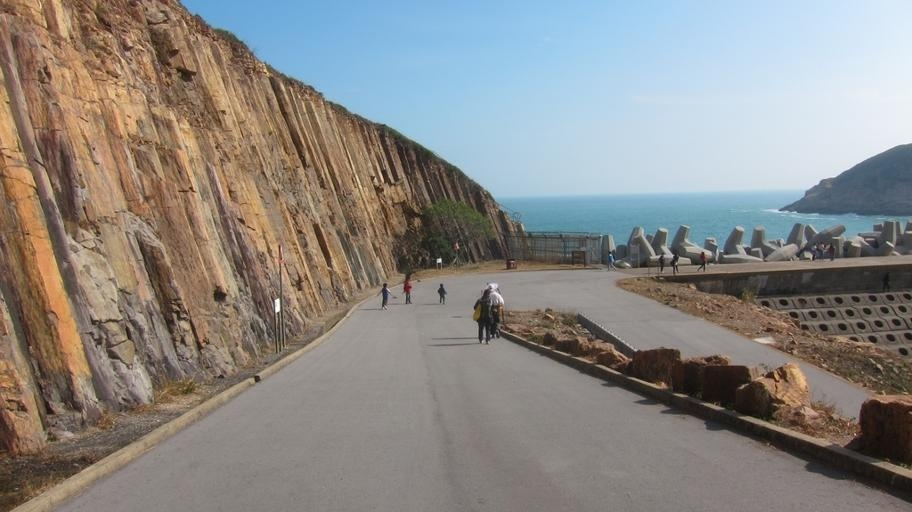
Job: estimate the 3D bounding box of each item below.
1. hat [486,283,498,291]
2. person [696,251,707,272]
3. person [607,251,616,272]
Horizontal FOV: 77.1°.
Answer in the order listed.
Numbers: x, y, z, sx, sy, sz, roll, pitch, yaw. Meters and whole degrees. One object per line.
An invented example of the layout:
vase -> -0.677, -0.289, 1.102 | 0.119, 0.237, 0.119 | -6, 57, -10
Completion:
hat -> 1.833, 1.555, 29.589 | 0.616, 0.261, 0.806 | 1, -1, 3
person -> 22.057, 0.426, 51.495 | 1.139, 1.513, 3.364 | 9, 6, 18
person -> 15.074, 0.354, 55.620 | 0.628, 1.557, 2.331 | 0, 4, 14
